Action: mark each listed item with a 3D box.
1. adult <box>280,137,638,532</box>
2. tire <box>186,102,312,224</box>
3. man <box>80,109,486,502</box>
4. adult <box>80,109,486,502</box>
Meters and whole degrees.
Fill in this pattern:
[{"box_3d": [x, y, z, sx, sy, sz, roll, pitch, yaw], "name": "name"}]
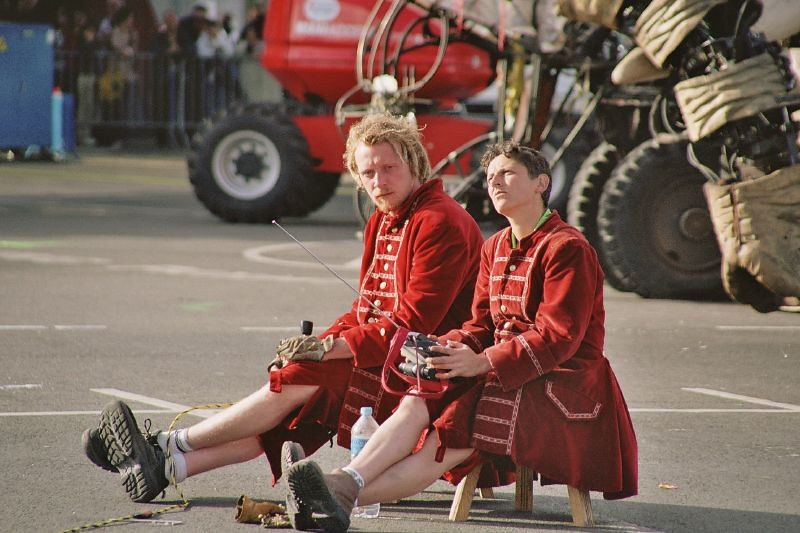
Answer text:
[{"box_3d": [0.527, 0.396, 8.388, 1.782, 2.191, 0.667, 2, 9, -3], "name": "adult"}, {"box_3d": [-1.494, -1.073, 14.302, 1.523, 1.407, 0.496, -1, 6, -3], "name": "tire"}, {"box_3d": [-0.646, 0.169, 8.829, 2.603, 1.930, 1.192, -10, 0, -21], "name": "man"}, {"box_3d": [-0.642, 0.203, 8.908, 2.600, 1.947, 1.239, -10, 0, -16], "name": "adult"}]
